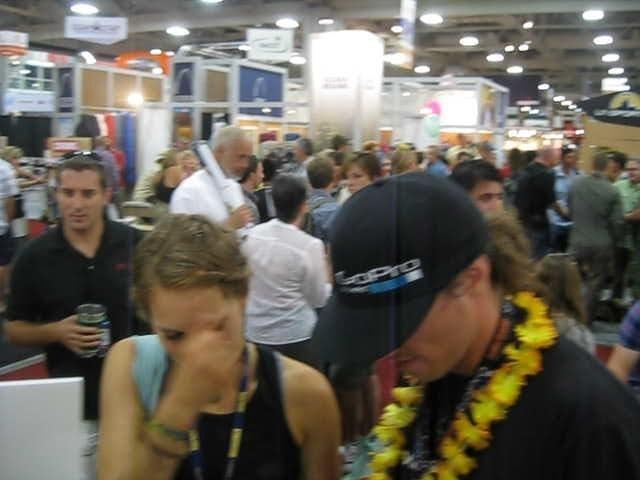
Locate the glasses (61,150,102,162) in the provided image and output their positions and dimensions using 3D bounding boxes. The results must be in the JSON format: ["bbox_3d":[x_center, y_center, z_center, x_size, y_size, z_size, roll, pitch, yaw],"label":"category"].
[{"bbox_3d":[-0.481,-0.171,1.180,0.093,0.018,0.029,7,-1,44],"label":"glasses"}]

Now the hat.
[{"bbox_3d":[0.118,0.053,0.871,0.248,0.305,0.110,3,5,6],"label":"hat"}]
